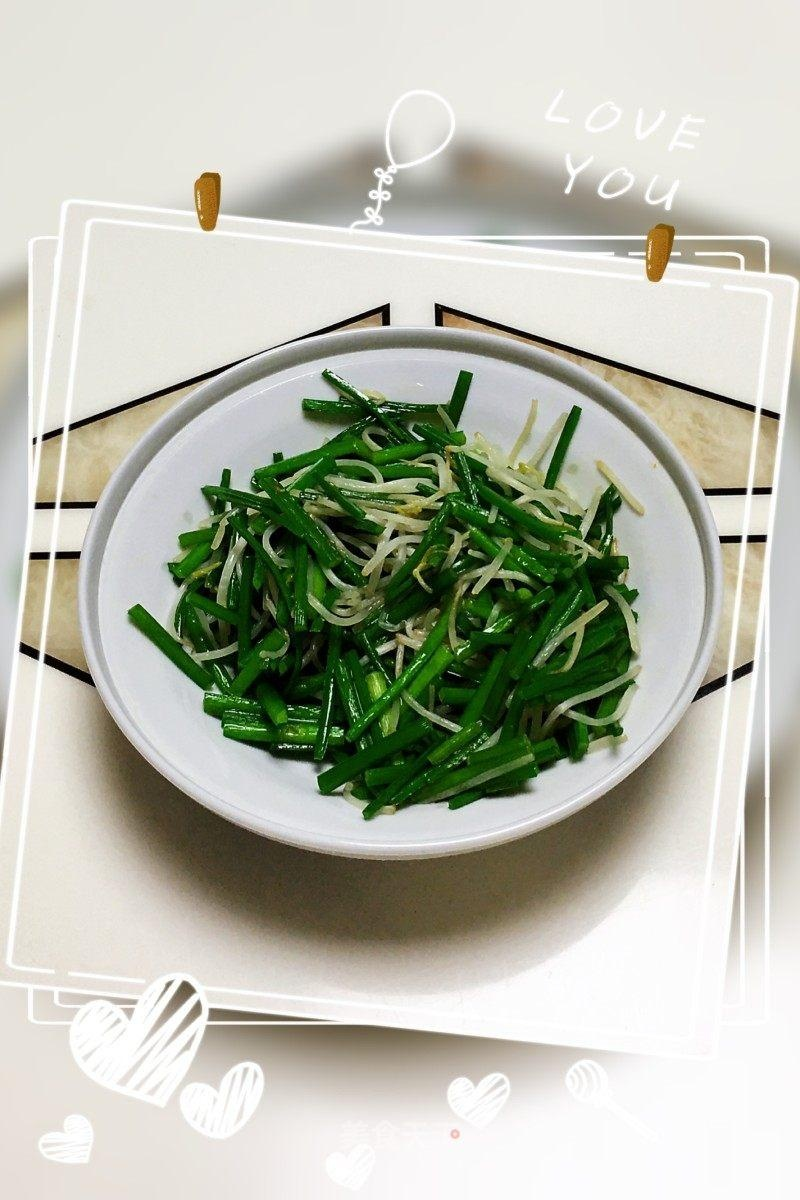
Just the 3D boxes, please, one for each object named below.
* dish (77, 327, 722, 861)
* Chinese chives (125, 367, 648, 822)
[{"bbox_3d":[0.002,-0.020,1.974,1.070,1.010,0.371,-3,-38,-1],"label":"dish"},{"bbox_3d":[0.048,0.004,2.149,0.845,0.892,0.770,-18,-67,-36],"label":"Chinese chives"}]
